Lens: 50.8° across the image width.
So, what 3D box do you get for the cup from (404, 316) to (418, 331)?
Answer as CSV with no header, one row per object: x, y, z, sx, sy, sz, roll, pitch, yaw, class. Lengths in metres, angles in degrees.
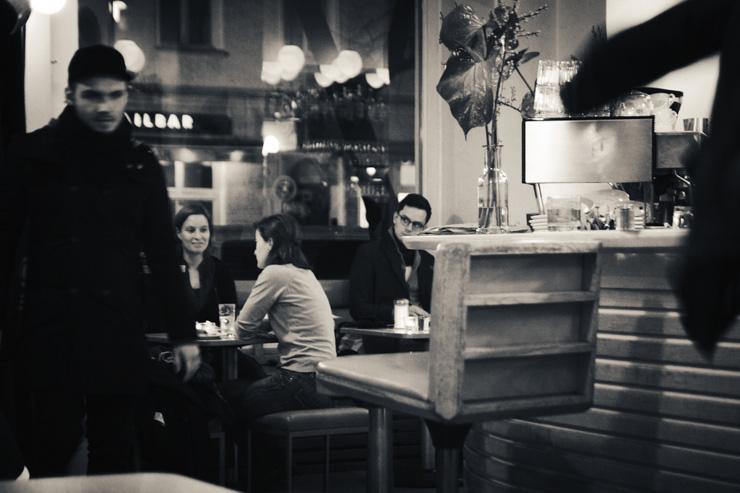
0.232,0.412,4.199,0.070,0.071,0.069,1,-3,0,cup

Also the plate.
0.905,-0.149,3.201,0.362,0.119,0.277,0,2,-14,plate

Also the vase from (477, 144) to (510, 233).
0.587,-0.280,3.715,0.176,0.435,0.164,-9,28,-6,vase

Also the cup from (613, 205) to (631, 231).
0.912,-0.101,2.801,0.069,0.074,0.045,1,4,40,cup

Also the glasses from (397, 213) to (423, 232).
0.265,-0.149,5.028,0.171,0.098,0.099,-1,3,6,glasses
